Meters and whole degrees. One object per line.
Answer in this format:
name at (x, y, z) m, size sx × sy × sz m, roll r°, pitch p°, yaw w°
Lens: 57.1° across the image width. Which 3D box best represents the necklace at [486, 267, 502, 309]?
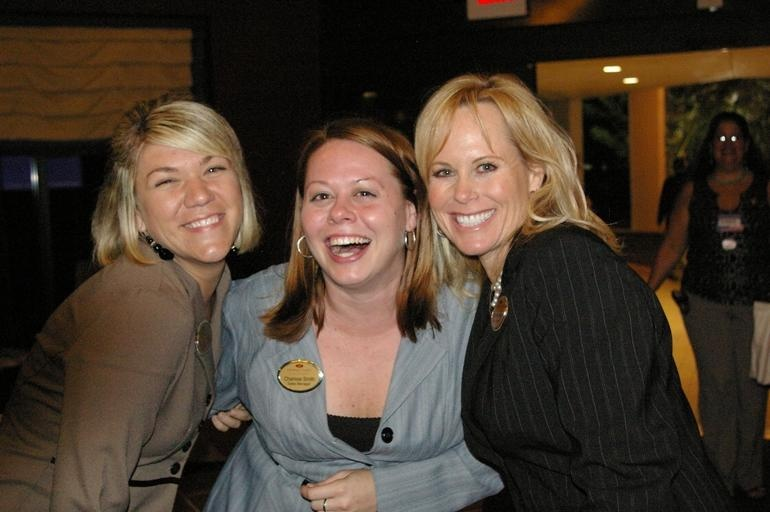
necklace at (0.612, 0.189, 3.918) m, size 0.044 × 0.159 × 0.115 m, roll 17°, pitch 20°, yaw 15°
